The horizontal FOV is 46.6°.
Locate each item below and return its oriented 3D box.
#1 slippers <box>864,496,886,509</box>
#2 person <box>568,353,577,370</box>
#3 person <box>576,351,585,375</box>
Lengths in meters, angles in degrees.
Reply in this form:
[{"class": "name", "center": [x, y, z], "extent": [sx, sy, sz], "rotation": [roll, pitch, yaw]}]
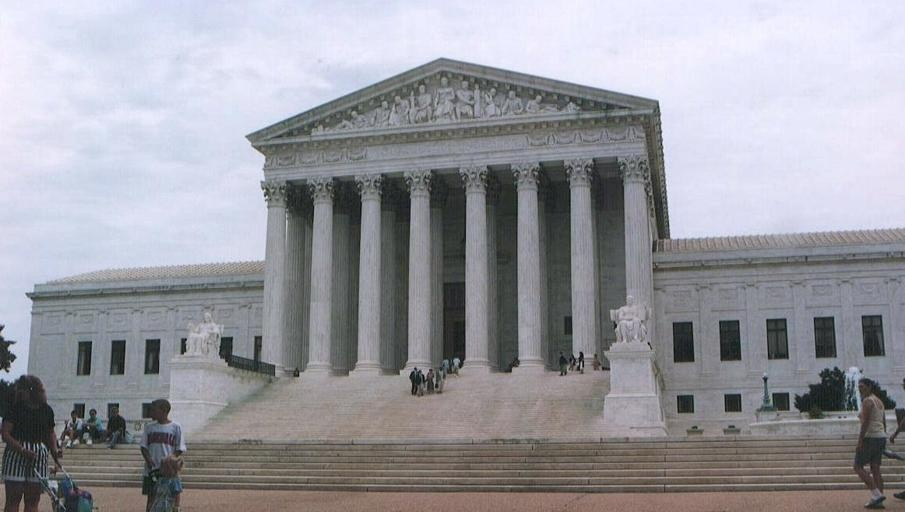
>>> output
[{"class": "slippers", "center": [15.911, 9.232, 39.217], "extent": [0.364, 0.381, 0.961], "rotation": [-14, 4, -30]}, {"class": "person", "center": [7.628, 6.694, 66.124], "extent": [0.471, 0.974, 1.545], "rotation": [-3, -5, 6]}, {"class": "person", "center": [8.082, 6.573, 65.779], "extent": [0.476, 1.248, 1.706], "rotation": [-3, -5, 7]}]
